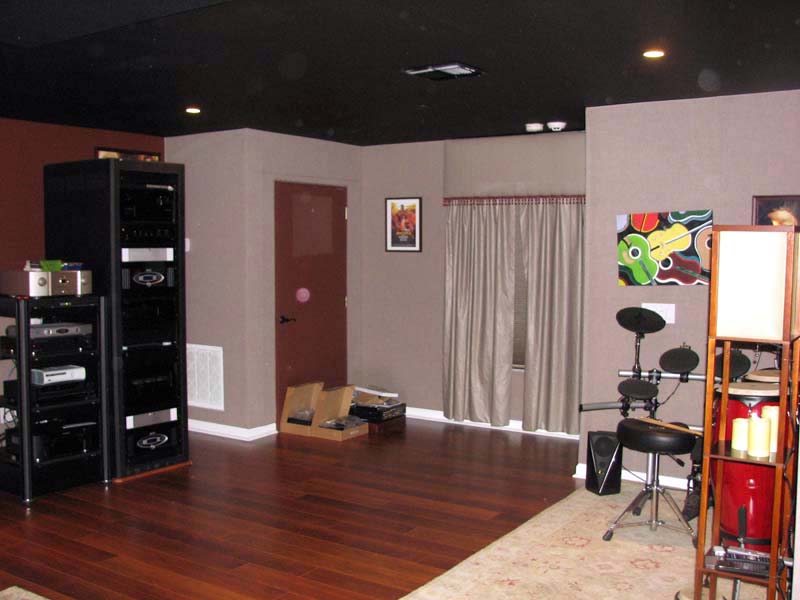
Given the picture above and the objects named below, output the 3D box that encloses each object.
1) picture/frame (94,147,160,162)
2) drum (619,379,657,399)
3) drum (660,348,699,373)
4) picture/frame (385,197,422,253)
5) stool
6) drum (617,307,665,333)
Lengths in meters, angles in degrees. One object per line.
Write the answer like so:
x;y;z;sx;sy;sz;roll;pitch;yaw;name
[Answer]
-2.714;-1.443;6.798;0.229;0.113;0.455;2;3;35;picture/frame
1.703;0.640;4.934;0.252;0.161;0.261;0;7;0;drum
1.934;0.417;4.811;0.242;0.182;0.259;0;7;0;drum
0.061;-0.874;7.827;0.586;0.798;0.034;3;6;32;picture/frame
1.790;1.260;4.892;0.561;0.773;0.567;-1;2;17;stool
1.801;0.147;5.135;0.325;0.217;0.356;0;7;0;drum
